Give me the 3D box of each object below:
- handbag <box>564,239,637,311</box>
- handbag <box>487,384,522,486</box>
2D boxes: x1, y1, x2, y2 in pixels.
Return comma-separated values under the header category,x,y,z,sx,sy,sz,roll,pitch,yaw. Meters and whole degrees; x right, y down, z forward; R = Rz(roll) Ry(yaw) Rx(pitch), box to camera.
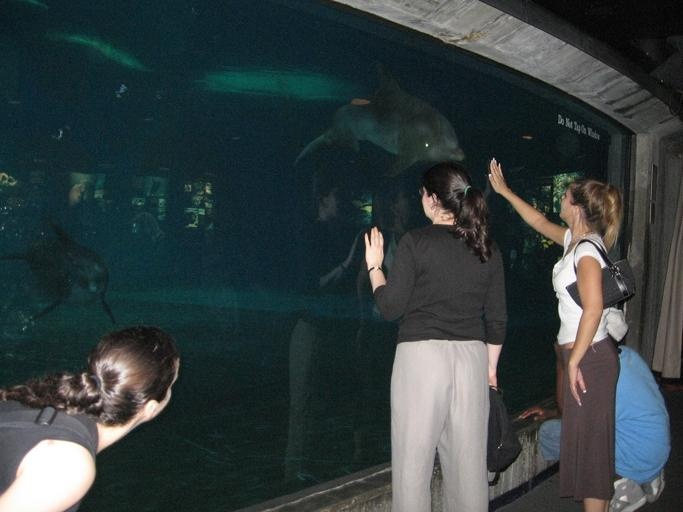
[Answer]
category,x,y,z,sx,sy,sz,roll,pitch,yaw
handbag,1.980,0.183,4.439,0.433,0.537,0.470,7,10,-22
handbag,1.204,1.303,4.230,0.260,0.687,0.301,13,9,35
